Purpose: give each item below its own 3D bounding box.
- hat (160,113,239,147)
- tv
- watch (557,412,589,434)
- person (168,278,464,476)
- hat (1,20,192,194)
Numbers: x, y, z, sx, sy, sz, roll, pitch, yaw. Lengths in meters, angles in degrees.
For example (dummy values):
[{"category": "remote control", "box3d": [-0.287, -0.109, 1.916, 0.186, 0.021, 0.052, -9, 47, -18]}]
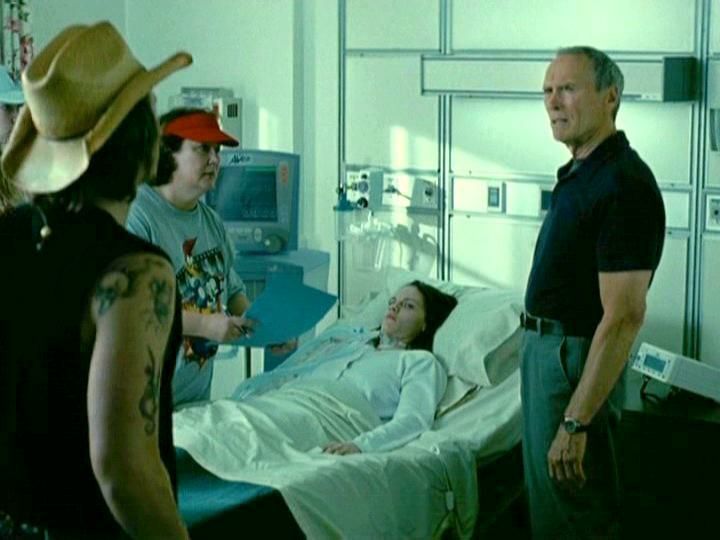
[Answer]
[{"category": "hat", "box3d": [-0.558, -0.504, 2.919, 0.172, 0.071, 0.126, 9, 7, 28]}, {"category": "tv", "box3d": [-0.477, -0.335, 4.135, 0.524, 0.630, 0.423, 1, 1, 1]}, {"category": "watch", "box3d": [0.623, 0.445, 2.464, 0.061, 0.051, 0.024, 20, 14, 20]}, {"category": "person", "box3d": [0.030, 0.405, 3.181, 0.750, 0.338, 0.523, -12, 19, -41]}, {"category": "hat", "box3d": [-0.522, -0.314, 1.666, 0.361, 0.343, 0.118, 2, 5, -12]}]
